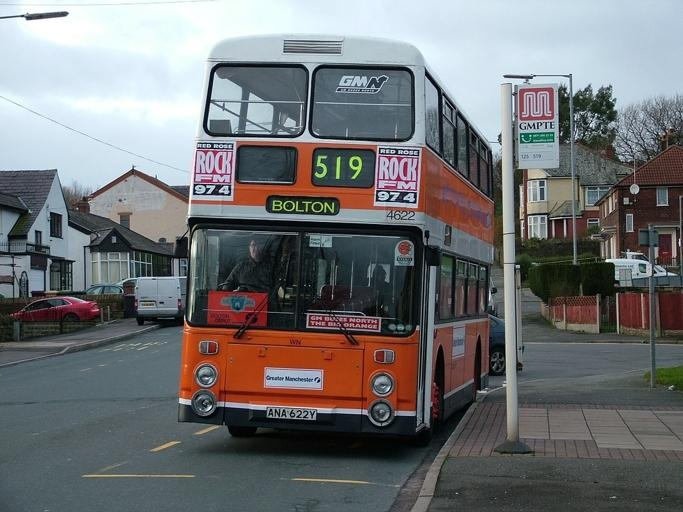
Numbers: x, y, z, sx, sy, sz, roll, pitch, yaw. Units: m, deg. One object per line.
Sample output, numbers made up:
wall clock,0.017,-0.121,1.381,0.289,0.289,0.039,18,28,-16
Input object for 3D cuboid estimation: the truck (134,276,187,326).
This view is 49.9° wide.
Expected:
truck,-9.167,2.259,37.187,2.881,2.777,4.970,-1,3,1

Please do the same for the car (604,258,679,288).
car,15.572,0.897,38.728,3.621,1.845,1.674,0,-1,4

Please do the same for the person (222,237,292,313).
person,-1.082,0.171,10.145,0.625,1.224,0.609,1,-4,-6

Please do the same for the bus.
bus,1.251,0.019,14.892,2.871,5.773,10.788,3,-2,18
